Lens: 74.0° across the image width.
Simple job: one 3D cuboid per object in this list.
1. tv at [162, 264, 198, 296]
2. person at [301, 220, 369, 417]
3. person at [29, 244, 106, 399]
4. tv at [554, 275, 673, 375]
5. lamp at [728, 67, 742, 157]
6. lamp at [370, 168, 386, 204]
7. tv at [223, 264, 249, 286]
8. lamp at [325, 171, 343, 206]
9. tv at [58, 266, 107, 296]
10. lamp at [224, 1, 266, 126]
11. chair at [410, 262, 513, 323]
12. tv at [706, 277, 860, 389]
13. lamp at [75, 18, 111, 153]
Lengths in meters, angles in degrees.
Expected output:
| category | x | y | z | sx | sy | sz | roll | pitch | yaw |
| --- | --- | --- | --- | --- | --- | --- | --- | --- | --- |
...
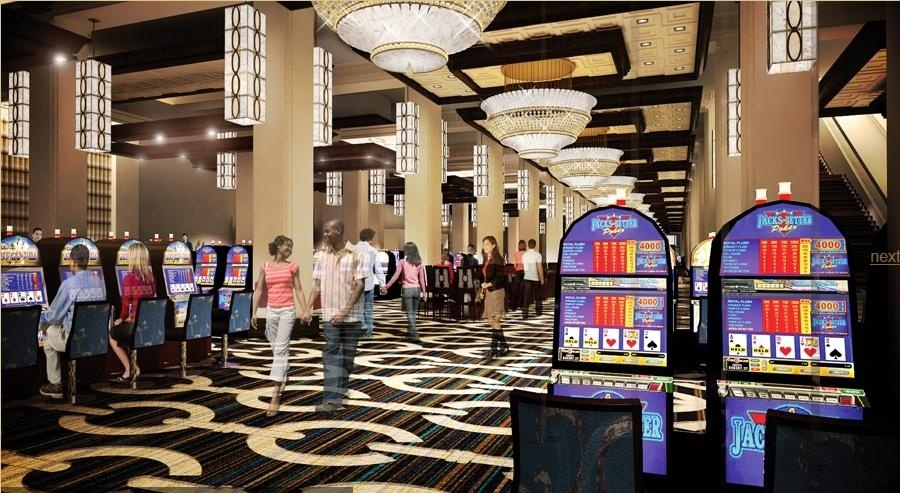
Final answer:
| category | x | y | z | sx | sy | sz | roll | pitch | yaw |
| --- | --- | --- | --- | --- | --- | --- | --- | --- | --- |
| tv | -4.232 | 0.532 | 9.308 | 0.107 | 0.410 | 0.519 | -13 | -7 | 19 |
| person | -1.321 | 0.829 | 7.084 | 0.650 | 2.280 | 0.237 | -1 | 10 | -7 |
| person | -4.917 | 0.949 | 7.831 | 0.579 | 1.826 | 0.952 | 0 | 10 | 0 |
| tv | 1.616 | 0.785 | 5.772 | 1.106 | 0.811 | 0.361 | 0 | -1 | 12 |
| lamp | 4.444 | -2.128 | 9.421 | 0.201 | 1.350 | 0.720 | 4 | 11 | 20 |
| lamp | -2.087 | -1.747 | 17.135 | 0.424 | 0.963 | 0.734 | -1 | 10 | -9 |
| tv | -4.104 | 0.550 | 11.494 | 0.504 | 0.432 | 0.170 | 2 | -6 | 2 |
| lamp | -3.402 | -1.698 | 17.440 | 0.393 | 0.931 | 0.469 | 0 | 10 | -2 |
| tv | -4.945 | 0.467 | 8.003 | 0.486 | 0.409 | 0.160 | -1 | -7 | -13 |
| lamp | -2.855 | -2.547 | 8.315 | 0.519 | 1.634 | 0.519 | -1 | 10 | -10 |
| chair | 0.028 | 1.049 | 13.298 | 1.663 | 0.913 | 1.562 | 0 | 0 | 15 |
| tv | 3.076 | 0.795 | 5.455 | 1.216 | 0.865 | 0.402 | 0 | -1 | 10 |
| lamp | -5.686 | -2.245 | 9.517 | 0.513 | 1.471 | 0.469 | -3 | 11 | -18 |
